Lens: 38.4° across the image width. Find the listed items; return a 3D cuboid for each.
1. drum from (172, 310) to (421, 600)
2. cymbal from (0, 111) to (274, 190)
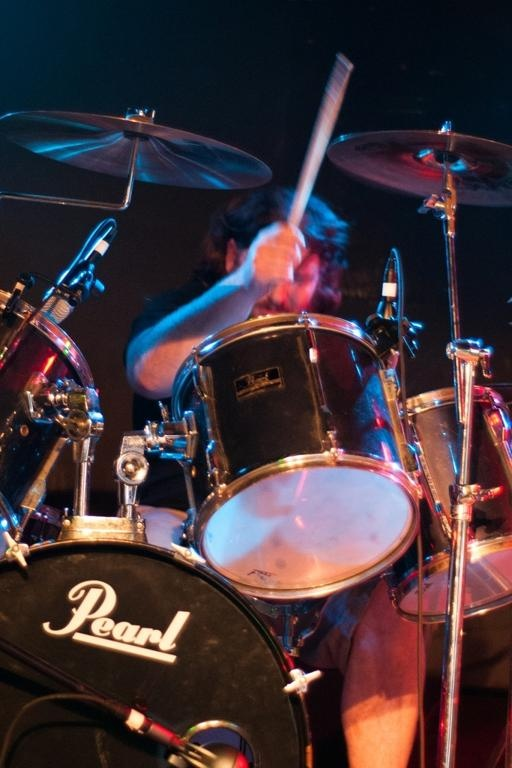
[{"bbox_3d":[0.026,0.128,1.435,0.520,0.481,0.470,-7,40,-8],"label":"drum"},{"bbox_3d":[-0.288,-0.602,1.857,0.676,0.113,0.388,5,6,-17],"label":"cymbal"}]
